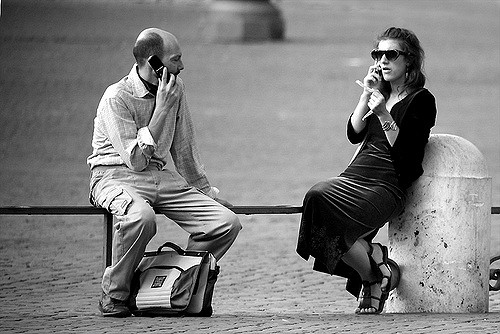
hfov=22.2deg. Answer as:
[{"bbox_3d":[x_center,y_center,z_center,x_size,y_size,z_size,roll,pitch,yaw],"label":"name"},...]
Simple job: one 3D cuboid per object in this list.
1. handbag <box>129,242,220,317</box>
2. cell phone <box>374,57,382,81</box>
[{"bbox_3d":[-1.218,1.821,19.963,1.403,0.940,0.649,1,-8,6],"label":"handbag"},{"bbox_3d":[2.079,-1.551,20.449,0.183,0.263,0.078,-9,9,-38],"label":"cell phone"}]
